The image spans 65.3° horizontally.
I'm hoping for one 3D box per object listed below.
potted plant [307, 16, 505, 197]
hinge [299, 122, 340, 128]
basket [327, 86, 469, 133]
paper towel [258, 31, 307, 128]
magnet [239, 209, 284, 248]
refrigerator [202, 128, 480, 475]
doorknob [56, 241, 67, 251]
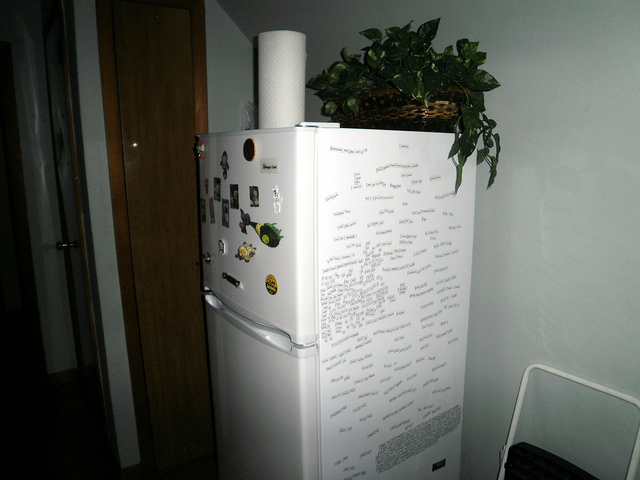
[{"bbox_3d":[0.405,-0.399,2.146,0.696,0.589,0.813,8,6,-35],"label":"potted plant"},{"bbox_3d":[0.000,-0.419,1.813,0.149,0.016,0.031,-5,14,-25],"label":"hinge"},{"bbox_3d":[0.299,-0.501,2.069,0.399,0.196,0.424,-5,11,-27],"label":"basket"},{"bbox_3d":[-0.159,-0.669,2.081,0.186,0.385,0.089,0,11,-7],"label":"paper towel"},{"bbox_3d":[-0.240,-0.054,1.969,0.033,0.095,0.234,-9,35,-37],"label":"magnet"},{"bbox_3d":[0.120,0.376,2.190,1.241,1.690,0.583,-1,12,-9],"label":"refrigerator"},{"bbox_3d":[-1.240,0.026,2.406,0.047,0.045,0.026,-7,14,-32],"label":"doorknob"}]
